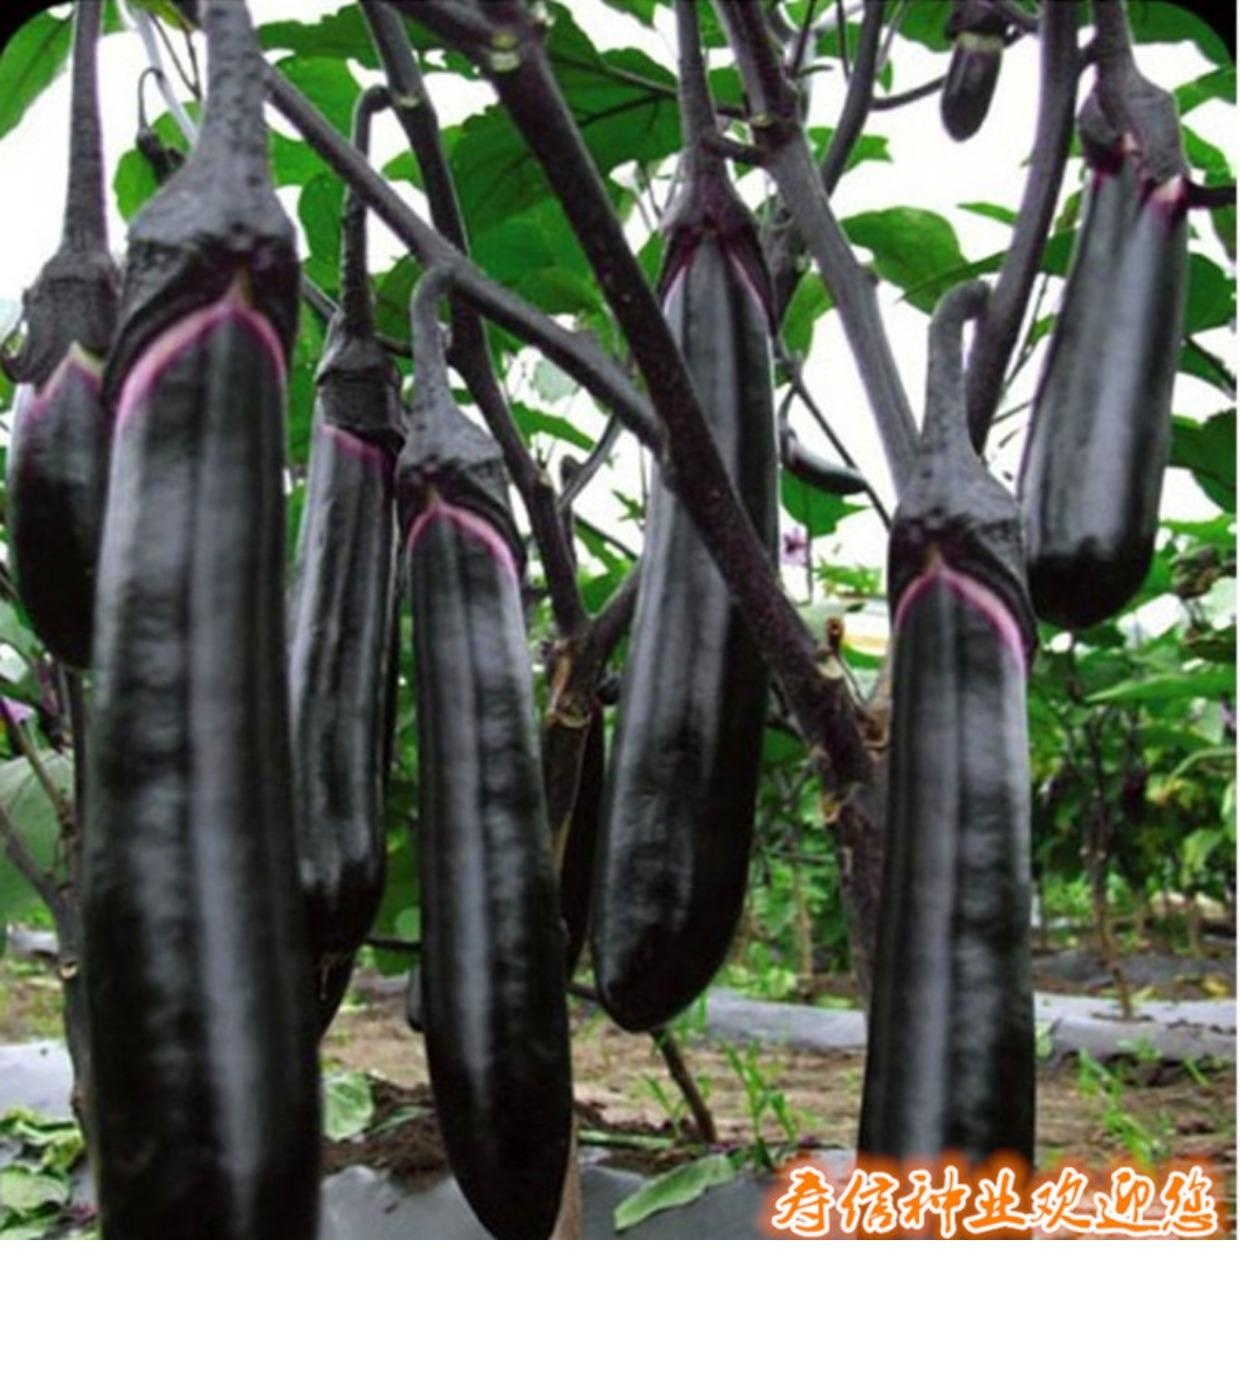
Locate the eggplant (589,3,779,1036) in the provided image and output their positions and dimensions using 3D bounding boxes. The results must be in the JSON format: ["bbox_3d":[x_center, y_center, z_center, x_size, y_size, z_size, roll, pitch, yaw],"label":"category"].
[{"bbox_3d":[0.028,-0.074,0.564,0.072,0.436,0.109,0,-6,6],"label":"eggplant"}]

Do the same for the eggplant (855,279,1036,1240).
[{"bbox_3d":[0.125,0.006,0.527,0.064,0.347,0.101,0,-6,8],"label":"eggplant"}]

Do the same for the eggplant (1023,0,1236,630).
[{"bbox_3d":[0.206,-0.154,0.562,0.056,0.246,0.058,4,-7,-24],"label":"eggplant"}]

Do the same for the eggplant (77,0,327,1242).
[{"bbox_3d":[-0.122,-0.013,0.404,0.068,0.339,0.031,3,-6,-14],"label":"eggplant"}]
